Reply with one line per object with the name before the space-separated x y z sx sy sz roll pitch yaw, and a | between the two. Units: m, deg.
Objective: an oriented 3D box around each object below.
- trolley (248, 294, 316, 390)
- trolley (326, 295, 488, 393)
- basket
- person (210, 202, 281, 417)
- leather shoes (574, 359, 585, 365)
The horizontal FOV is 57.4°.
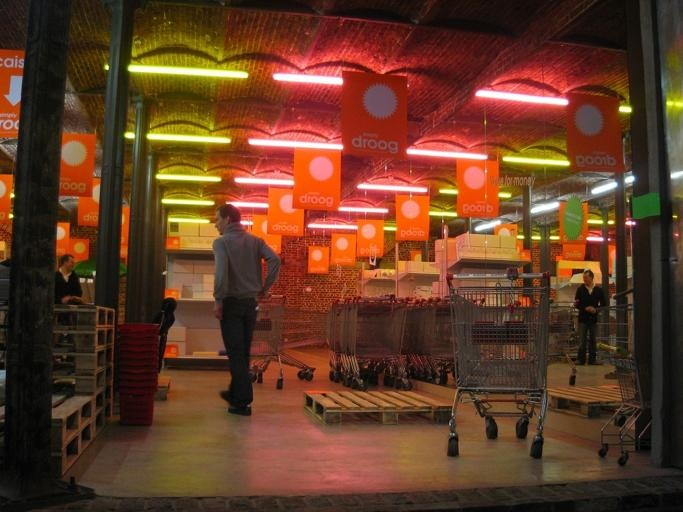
trolley | -1.239 1.389 9.812 0.855 1.267 1.208 -26 -19 36
trolley | 0.728 1.296 9.611 1.445 1.347 1.970 1 -3 -10
basket | -2.016 1.167 6.153 0.369 0.983 0.198 3 -5 -21
person | -1.056 0.555 6.736 0.723 2.295 0.590 2 -5 -16
leather shoes | 4.429 1.982 11.591 0.082 0.169 0.250 -6 -14 34
